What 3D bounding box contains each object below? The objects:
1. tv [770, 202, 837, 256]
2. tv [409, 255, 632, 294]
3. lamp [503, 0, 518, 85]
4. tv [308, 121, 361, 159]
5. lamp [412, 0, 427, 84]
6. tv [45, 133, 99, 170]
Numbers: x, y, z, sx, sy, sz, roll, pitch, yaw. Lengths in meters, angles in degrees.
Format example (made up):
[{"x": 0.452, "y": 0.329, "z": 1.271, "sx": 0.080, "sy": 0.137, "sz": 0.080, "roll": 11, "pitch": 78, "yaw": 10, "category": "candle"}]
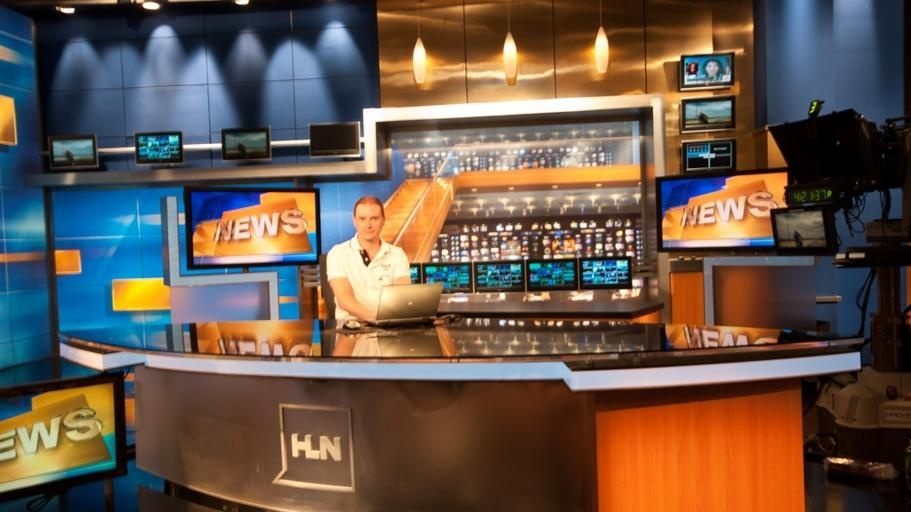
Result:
[{"x": 4.232, "y": -0.317, "z": 10.809, "sx": 0.675, "sy": 0.559, "sz": 0.221, "roll": -1, "pitch": -1, "yaw": 40, "category": "tv"}, {"x": 0.962, "y": 0.274, "z": 11.984, "sx": 2.712, "sy": 0.404, "sz": 0.243, "roll": -2, "pitch": 3, "yaw": 7, "category": "tv"}, {"x": 0.752, "y": -2.993, "z": 12.427, "sx": 0.209, "sy": 1.201, "sz": 0.346, "roll": -2, "pitch": 3, "yaw": 3, "category": "lamp"}, {"x": -1.738, "y": -1.647, "z": 12.698, "sx": 0.871, "sy": 0.553, "sz": 0.455, "roll": 0, "pitch": -2, "yaw": 1, "category": "tv"}, {"x": -0.520, "y": -3.008, "z": 12.501, "sx": 0.232, "sy": 1.202, "sz": 0.328, "roll": -2, "pitch": 3, "yaw": 3, "category": "lamp"}, {"x": -5.583, "y": -1.509, "z": 13.008, "sx": 0.581, "sy": 0.391, "sz": 0.077, "roll": -1, "pitch": 4, "yaw": -1, "category": "tv"}]
